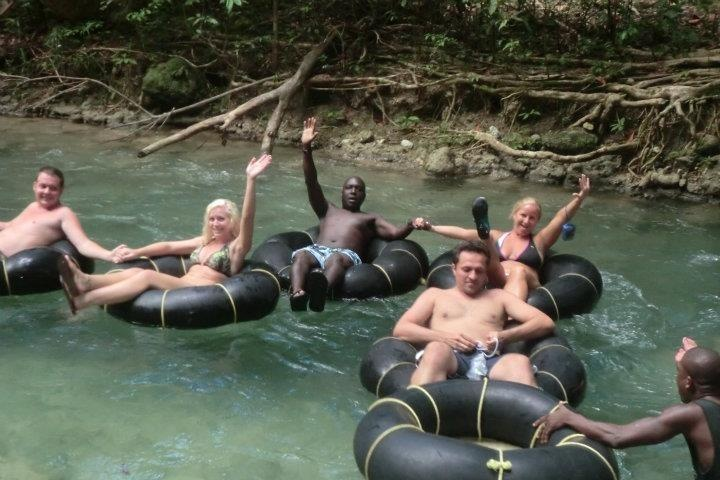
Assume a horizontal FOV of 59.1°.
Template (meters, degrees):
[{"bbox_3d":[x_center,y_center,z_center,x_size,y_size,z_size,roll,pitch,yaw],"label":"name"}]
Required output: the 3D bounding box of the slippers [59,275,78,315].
[{"bbox_3d":[-3.051,0.578,6.700,0.103,0.358,0.222,-14,9,-10],"label":"slippers"}]

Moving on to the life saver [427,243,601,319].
[{"bbox_3d":[2.180,0.546,7.744,1.254,0.295,1.162,1,16,18],"label":"life saver"}]

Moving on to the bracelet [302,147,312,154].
[{"bbox_3d":[-0.710,-1.222,8.570,0.105,0.024,0.096,-1,-27,-2],"label":"bracelet"}]

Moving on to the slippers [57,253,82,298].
[{"bbox_3d":[-3.018,0.367,6.621,0.171,0.485,0.227,-1,10,-1],"label":"slippers"}]

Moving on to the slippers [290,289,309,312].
[{"bbox_3d":[-0.695,0.695,7.290,0.124,0.308,0.125,2,53,-14],"label":"slippers"}]

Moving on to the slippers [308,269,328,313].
[{"bbox_3d":[-0.482,0.579,7.369,0.231,0.466,0.190,4,18,1],"label":"slippers"}]

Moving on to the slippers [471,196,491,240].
[{"bbox_3d":[1.352,-0.243,6.951,0.191,0.483,0.221,-2,1,-7],"label":"slippers"}]
